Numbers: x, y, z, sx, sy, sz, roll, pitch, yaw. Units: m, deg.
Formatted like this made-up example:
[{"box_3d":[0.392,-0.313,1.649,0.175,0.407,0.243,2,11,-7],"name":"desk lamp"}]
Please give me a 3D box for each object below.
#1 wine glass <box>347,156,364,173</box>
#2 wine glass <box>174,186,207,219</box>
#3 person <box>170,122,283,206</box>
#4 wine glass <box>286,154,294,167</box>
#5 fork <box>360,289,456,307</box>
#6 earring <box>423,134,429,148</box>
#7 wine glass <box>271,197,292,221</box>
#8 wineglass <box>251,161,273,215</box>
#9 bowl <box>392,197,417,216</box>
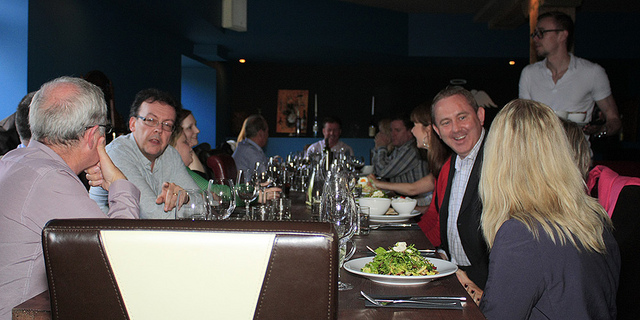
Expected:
[{"box_3d":[0.435,0.053,4.700,0.246,0.203,0.229,1,-6,-2],"name":"wine glass"},{"box_3d":[-0.738,0.256,2.426,0.184,0.231,0.175,4,-13,-15],"name":"wine glass"},{"box_3d":[-0.908,0.038,3.937,1.034,1.121,0.853,-3,-1,-5],"name":"person"},{"box_3d":[-0.360,0.036,4.881,0.064,0.167,0.197,-18,15,-1],"name":"wine glass"},{"box_3d":[0.399,0.645,1.841,0.419,0.043,0.054,0,1,6],"name":"fork"},{"box_3d":[1.009,-0.177,3.922,0.043,0.101,0.065,0,2,8],"name":"earring"},{"box_3d":[-0.242,0.340,2.880,0.180,0.150,0.147,0,-6,6],"name":"wine glass"},{"box_3d":[-0.481,0.227,3.449,0.184,0.468,0.223,3,0,-27],"name":"wineglass"},{"box_3d":[0.631,0.353,3.032,0.144,0.086,0.134,0,-11,0],"name":"bowl"}]
